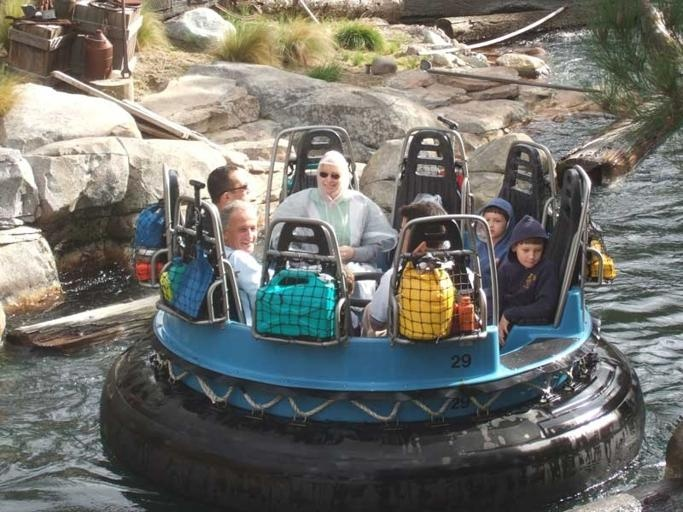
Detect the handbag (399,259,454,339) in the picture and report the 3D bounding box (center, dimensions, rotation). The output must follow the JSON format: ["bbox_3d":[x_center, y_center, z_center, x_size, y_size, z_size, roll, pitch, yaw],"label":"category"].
[{"bbox_3d":[0.580,0.319,6.097,0.382,0.550,0.150,-1,13,2],"label":"handbag"}]

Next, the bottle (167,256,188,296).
[{"bbox_3d":[-1.236,0.135,6.536,0.065,0.252,0.146,12,7,-41],"label":"bottle"}]

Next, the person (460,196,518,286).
[{"bbox_3d":[1.382,-0.147,7.820,0.606,0.779,0.284,2,3,-32],"label":"person"}]

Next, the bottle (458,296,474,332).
[{"bbox_3d":[0.879,0.407,6.194,0.140,0.269,0.064,-4,13,-10],"label":"bottle"}]

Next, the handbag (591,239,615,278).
[{"bbox_3d":[2.095,0.034,7.036,0.198,0.327,0.111,-3,12,6],"label":"handbag"}]

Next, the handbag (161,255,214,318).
[{"bbox_3d":[-1.134,0.224,6.496,0.371,0.357,0.150,27,7,38],"label":"handbag"}]

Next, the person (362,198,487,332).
[{"bbox_3d":[0.596,0.041,6.842,1.041,1.209,0.825,-6,11,-17],"label":"person"}]
